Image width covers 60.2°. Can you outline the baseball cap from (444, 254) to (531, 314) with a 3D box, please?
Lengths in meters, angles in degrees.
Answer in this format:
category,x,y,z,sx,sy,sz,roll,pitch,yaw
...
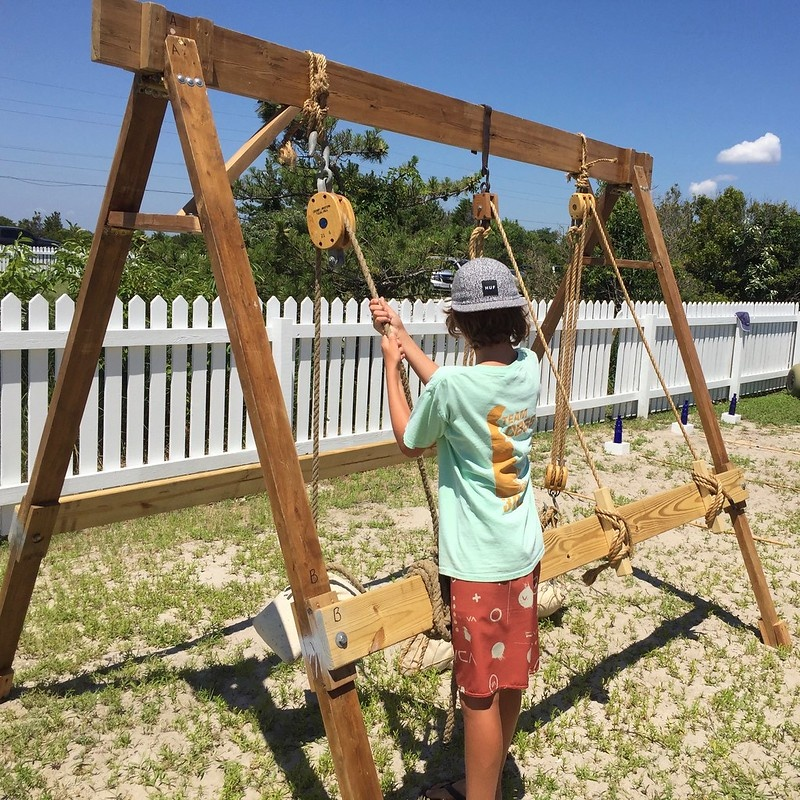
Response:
category,x,y,z,sx,sy,sz,roll,pitch,yaw
baseball cap,0.261,-0.353,2.120,0.138,0.125,0.205,-3,12,-8

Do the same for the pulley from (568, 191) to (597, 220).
category,x,y,z,sx,sy,sz,roll,pitch,yaw
pulley,0.931,-0.999,3.545,0.183,0.177,0.114,-6,7,-44

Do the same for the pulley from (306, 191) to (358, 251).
category,x,y,z,sx,sy,sz,roll,pitch,yaw
pulley,-0.252,-0.648,2.484,0.195,0.209,0.177,-1,5,9
